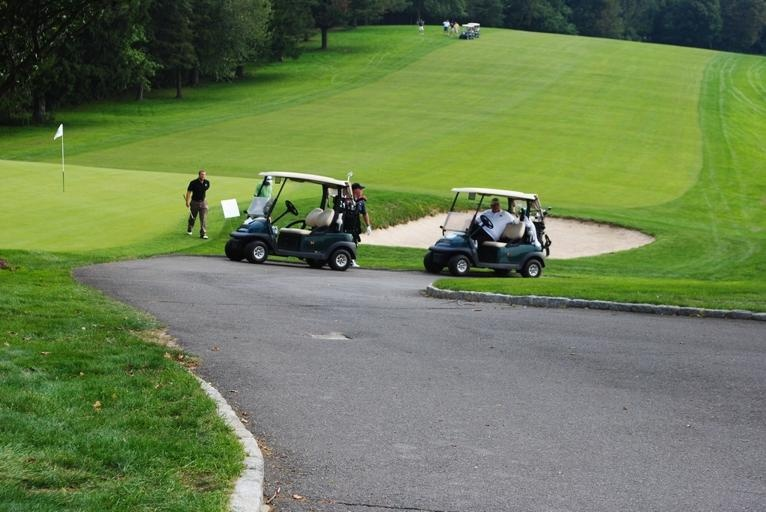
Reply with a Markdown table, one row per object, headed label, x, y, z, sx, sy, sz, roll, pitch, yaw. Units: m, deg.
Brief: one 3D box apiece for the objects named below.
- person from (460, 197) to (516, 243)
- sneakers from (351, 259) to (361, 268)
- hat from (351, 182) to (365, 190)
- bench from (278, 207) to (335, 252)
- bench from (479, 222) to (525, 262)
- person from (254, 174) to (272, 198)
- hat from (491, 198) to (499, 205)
| label | x | y | z | sx | sy | sz | roll | pitch | yaw |
| --- | --- | --- | --- | --- | --- | --- | --- | --- | --- |
| person | 3.136 | -0.992 | 22.261 | 0.958 | 0.797 | 1.408 | 12 | 13 | 23 |
| sneakers | -0.802 | 0.260 | 22.703 | 0.197 | 0.284 | 0.611 | -1 | -3 | -12 |
| hat | -0.721 | -2.007 | 22.360 | 0.329 | 0.178 | 0.247 | 2 | 14 | -4 |
| bench | -2.251 | -0.711 | 22.102 | 1.580 | 1.495 | 0.978 | 5 | -4 | -27 |
| bench | 3.535 | -0.354 | 22.385 | 1.410 | 1.319 | 0.881 | 3 | -2 | -30 |
| person | -3.463 | -2.034 | 22.153 | 0.461 | 0.621 | 1.331 | 2 | 12 | -10 |
| hat | 3.266 | -1.558 | 21.993 | 0.210 | 0.216 | 0.459 | 5 | 12 | 4 |
